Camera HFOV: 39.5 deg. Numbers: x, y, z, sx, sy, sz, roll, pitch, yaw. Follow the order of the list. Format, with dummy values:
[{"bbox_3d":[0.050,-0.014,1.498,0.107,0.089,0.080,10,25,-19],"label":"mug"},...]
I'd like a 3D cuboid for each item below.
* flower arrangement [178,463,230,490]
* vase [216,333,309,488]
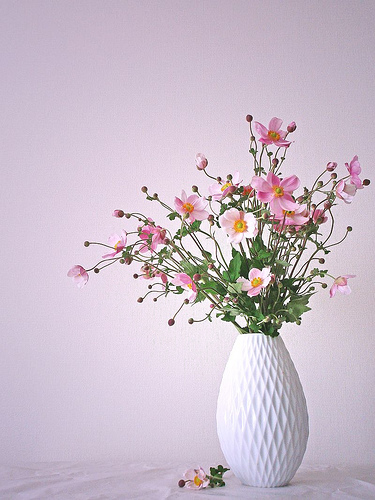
[{"bbox_3d":[0.024,0.467,1.090,0.063,0.029,0.056,-10,-11,14],"label":"flower arrangement"},{"bbox_3d":[0.151,0.319,1.045,0.175,0.299,0.087,3,-15,8],"label":"vase"}]
